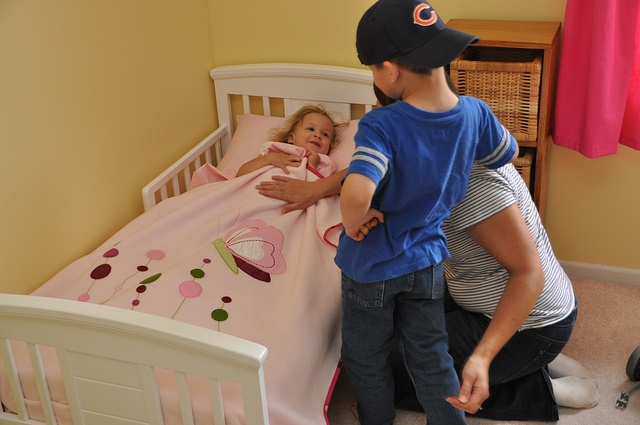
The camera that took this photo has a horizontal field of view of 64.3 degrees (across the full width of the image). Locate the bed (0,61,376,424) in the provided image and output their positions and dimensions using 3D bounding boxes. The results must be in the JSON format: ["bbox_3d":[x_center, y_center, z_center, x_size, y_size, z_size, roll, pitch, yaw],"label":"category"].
[{"bbox_3d":[-0.332,0.366,2.696,1.333,1.024,1.687,13,48,14],"label":"bed"}]

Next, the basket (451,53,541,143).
[{"bbox_3d":[0.845,-0.553,2.492,0.362,0.297,0.380,7,26,17],"label":"basket"}]

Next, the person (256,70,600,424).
[{"bbox_3d":[0.431,0.171,1.997,0.958,0.360,1.236,6,44,21],"label":"person"}]
